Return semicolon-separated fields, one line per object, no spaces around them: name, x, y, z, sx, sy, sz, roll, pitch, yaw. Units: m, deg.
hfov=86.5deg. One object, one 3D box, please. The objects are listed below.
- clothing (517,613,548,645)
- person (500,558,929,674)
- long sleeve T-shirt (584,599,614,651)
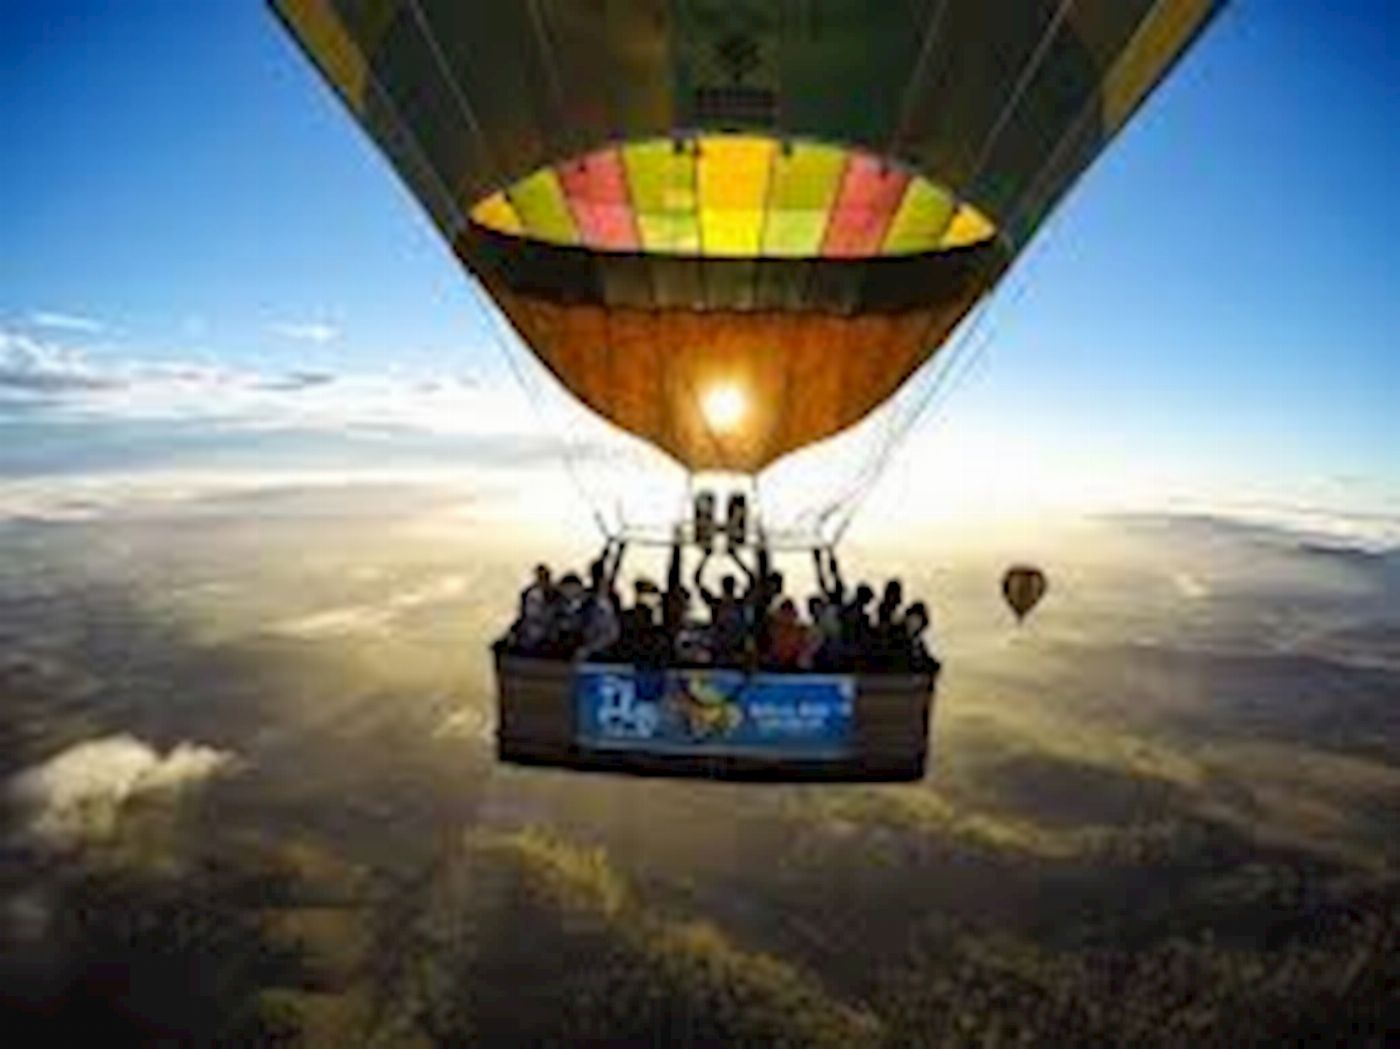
clothing;-1.903;1.205;8.566;0.282;0.319;0.119;4;7;-22
person;0.381;1.100;8.594;4.698;1.156;0.502;2;8;0
long sleeve T-shirt;-1.130;1.147;8.547;0.201;0.589;0.345;9;10;42
